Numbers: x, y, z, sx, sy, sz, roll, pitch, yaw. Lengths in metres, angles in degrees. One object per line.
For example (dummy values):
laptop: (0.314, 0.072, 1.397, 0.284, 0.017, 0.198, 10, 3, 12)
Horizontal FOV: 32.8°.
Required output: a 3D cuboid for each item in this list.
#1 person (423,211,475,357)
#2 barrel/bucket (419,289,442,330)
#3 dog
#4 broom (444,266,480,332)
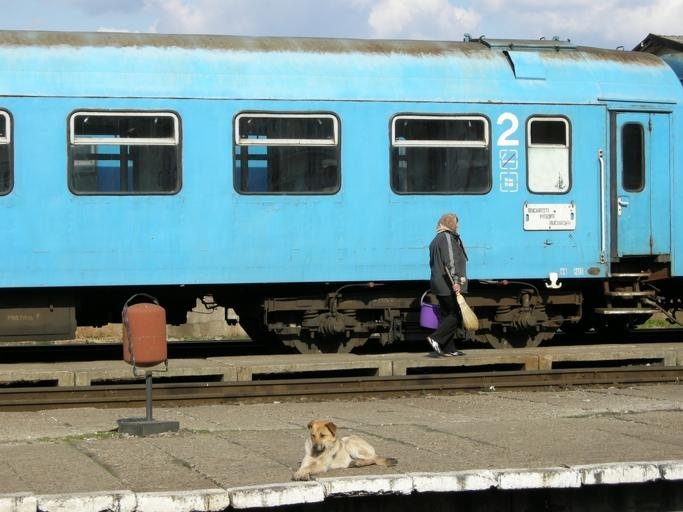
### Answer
person: (1.453, 0.394, 16.030, 0.694, 1.956, 0.866, -2, -1, -12)
barrel/bucket: (1.356, 0.810, 16.508, 0.331, 0.503, 0.511, 2, -11, -2)
dog: (-0.041, 1.863, 11.444, 0.652, 0.504, 1.204, -2, -4, 40)
broom: (1.693, 0.587, 16.164, 0.386, 0.833, 1.028, -2, -1, 11)
